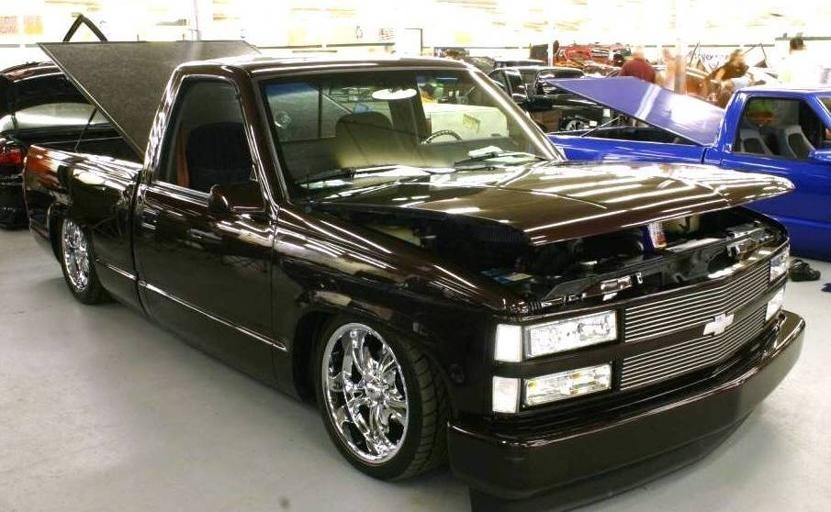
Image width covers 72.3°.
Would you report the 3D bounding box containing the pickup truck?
[{"bbox_3d":[-0.725,-0.334,4.306,2.393,1.778,5.546,-16,22,-43],"label":"pickup truck"}]
